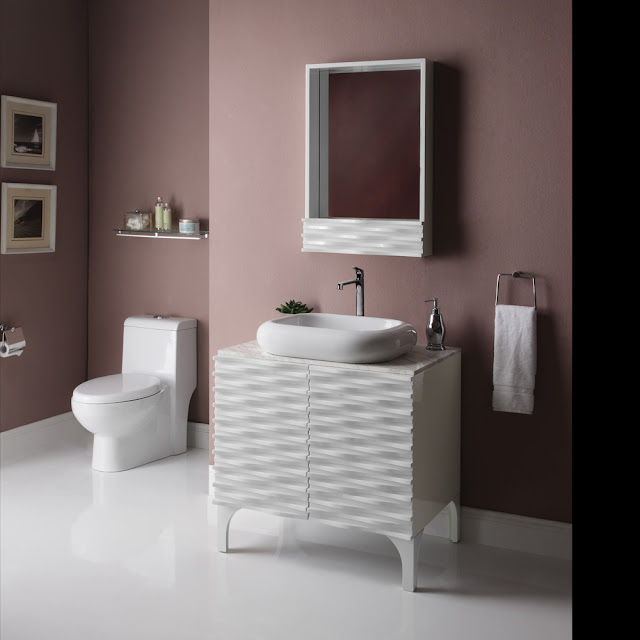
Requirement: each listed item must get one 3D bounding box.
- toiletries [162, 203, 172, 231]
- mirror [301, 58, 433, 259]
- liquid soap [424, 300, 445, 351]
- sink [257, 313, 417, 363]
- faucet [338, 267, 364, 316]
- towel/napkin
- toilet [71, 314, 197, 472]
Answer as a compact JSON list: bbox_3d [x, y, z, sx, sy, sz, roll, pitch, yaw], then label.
[{"bbox_3d":[-0.868,-0.582,3.486,0.052,0.161,0.104,0,6,-14],"label":"toiletries"},{"bbox_3d":[0.207,-0.647,2.432,0.625,1.136,0.193,2,4,26],"label":"mirror"},{"bbox_3d":[0.458,0.017,2.414,0.079,0.187,0.146,2,6,11],"label":"liquid soap"},{"bbox_3d":[0.060,0.073,2.195,0.348,0.107,0.287,1,5,22],"label":"sink"},{"bbox_3d":[0.127,-0.111,2.463,0.114,0.196,0.293,1,6,1],"label":"faucet"},{"bbox_3d":[0.733,0.150,2.314,0.150,0.397,0.026,4,6,27],"label":"towel/napkin"},{"bbox_3d":[-0.982,0.393,3.289,0.383,0.763,0.671,3,6,20],"label":"toilet"}]
